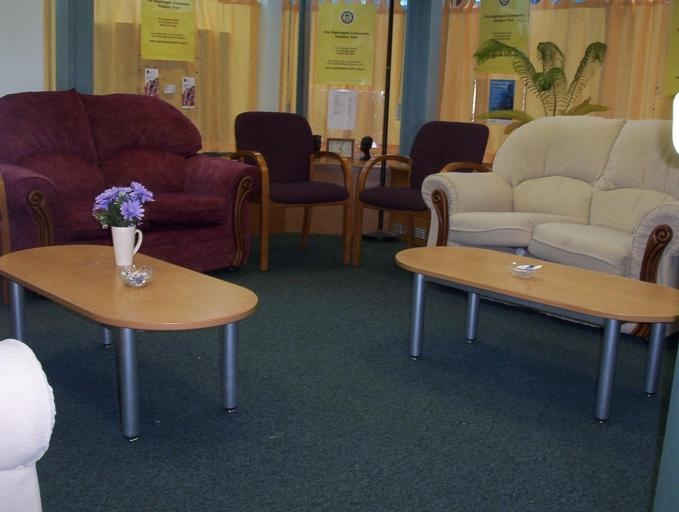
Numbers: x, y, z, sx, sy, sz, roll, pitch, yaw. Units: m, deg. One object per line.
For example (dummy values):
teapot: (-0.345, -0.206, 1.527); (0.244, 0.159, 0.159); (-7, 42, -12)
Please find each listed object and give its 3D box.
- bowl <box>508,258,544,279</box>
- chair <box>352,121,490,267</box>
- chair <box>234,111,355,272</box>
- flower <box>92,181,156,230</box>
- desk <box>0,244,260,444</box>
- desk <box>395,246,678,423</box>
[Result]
bowl: (0.836, 0.060, 2.559); (0.102, 0.042, 0.102); (-1, 6, 0)
chair: (0.635, -0.472, 4.355); (0.746, 1.065, 0.798); (15, 18, 42)
chair: (-0.393, -0.526, 4.359); (0.919, 1.076, 0.871); (11, 16, 35)
flower: (-0.940, -0.176, 2.507); (0.275, 0.243, 0.180); (-2, -16, -11)
desk: (-0.860, 0.301, 2.356); (1.175, 0.521, 0.584); (12, 19, 39)
desk: (0.863, 0.300, 2.586); (1.152, 0.505, 0.581); (12, 19, 39)
